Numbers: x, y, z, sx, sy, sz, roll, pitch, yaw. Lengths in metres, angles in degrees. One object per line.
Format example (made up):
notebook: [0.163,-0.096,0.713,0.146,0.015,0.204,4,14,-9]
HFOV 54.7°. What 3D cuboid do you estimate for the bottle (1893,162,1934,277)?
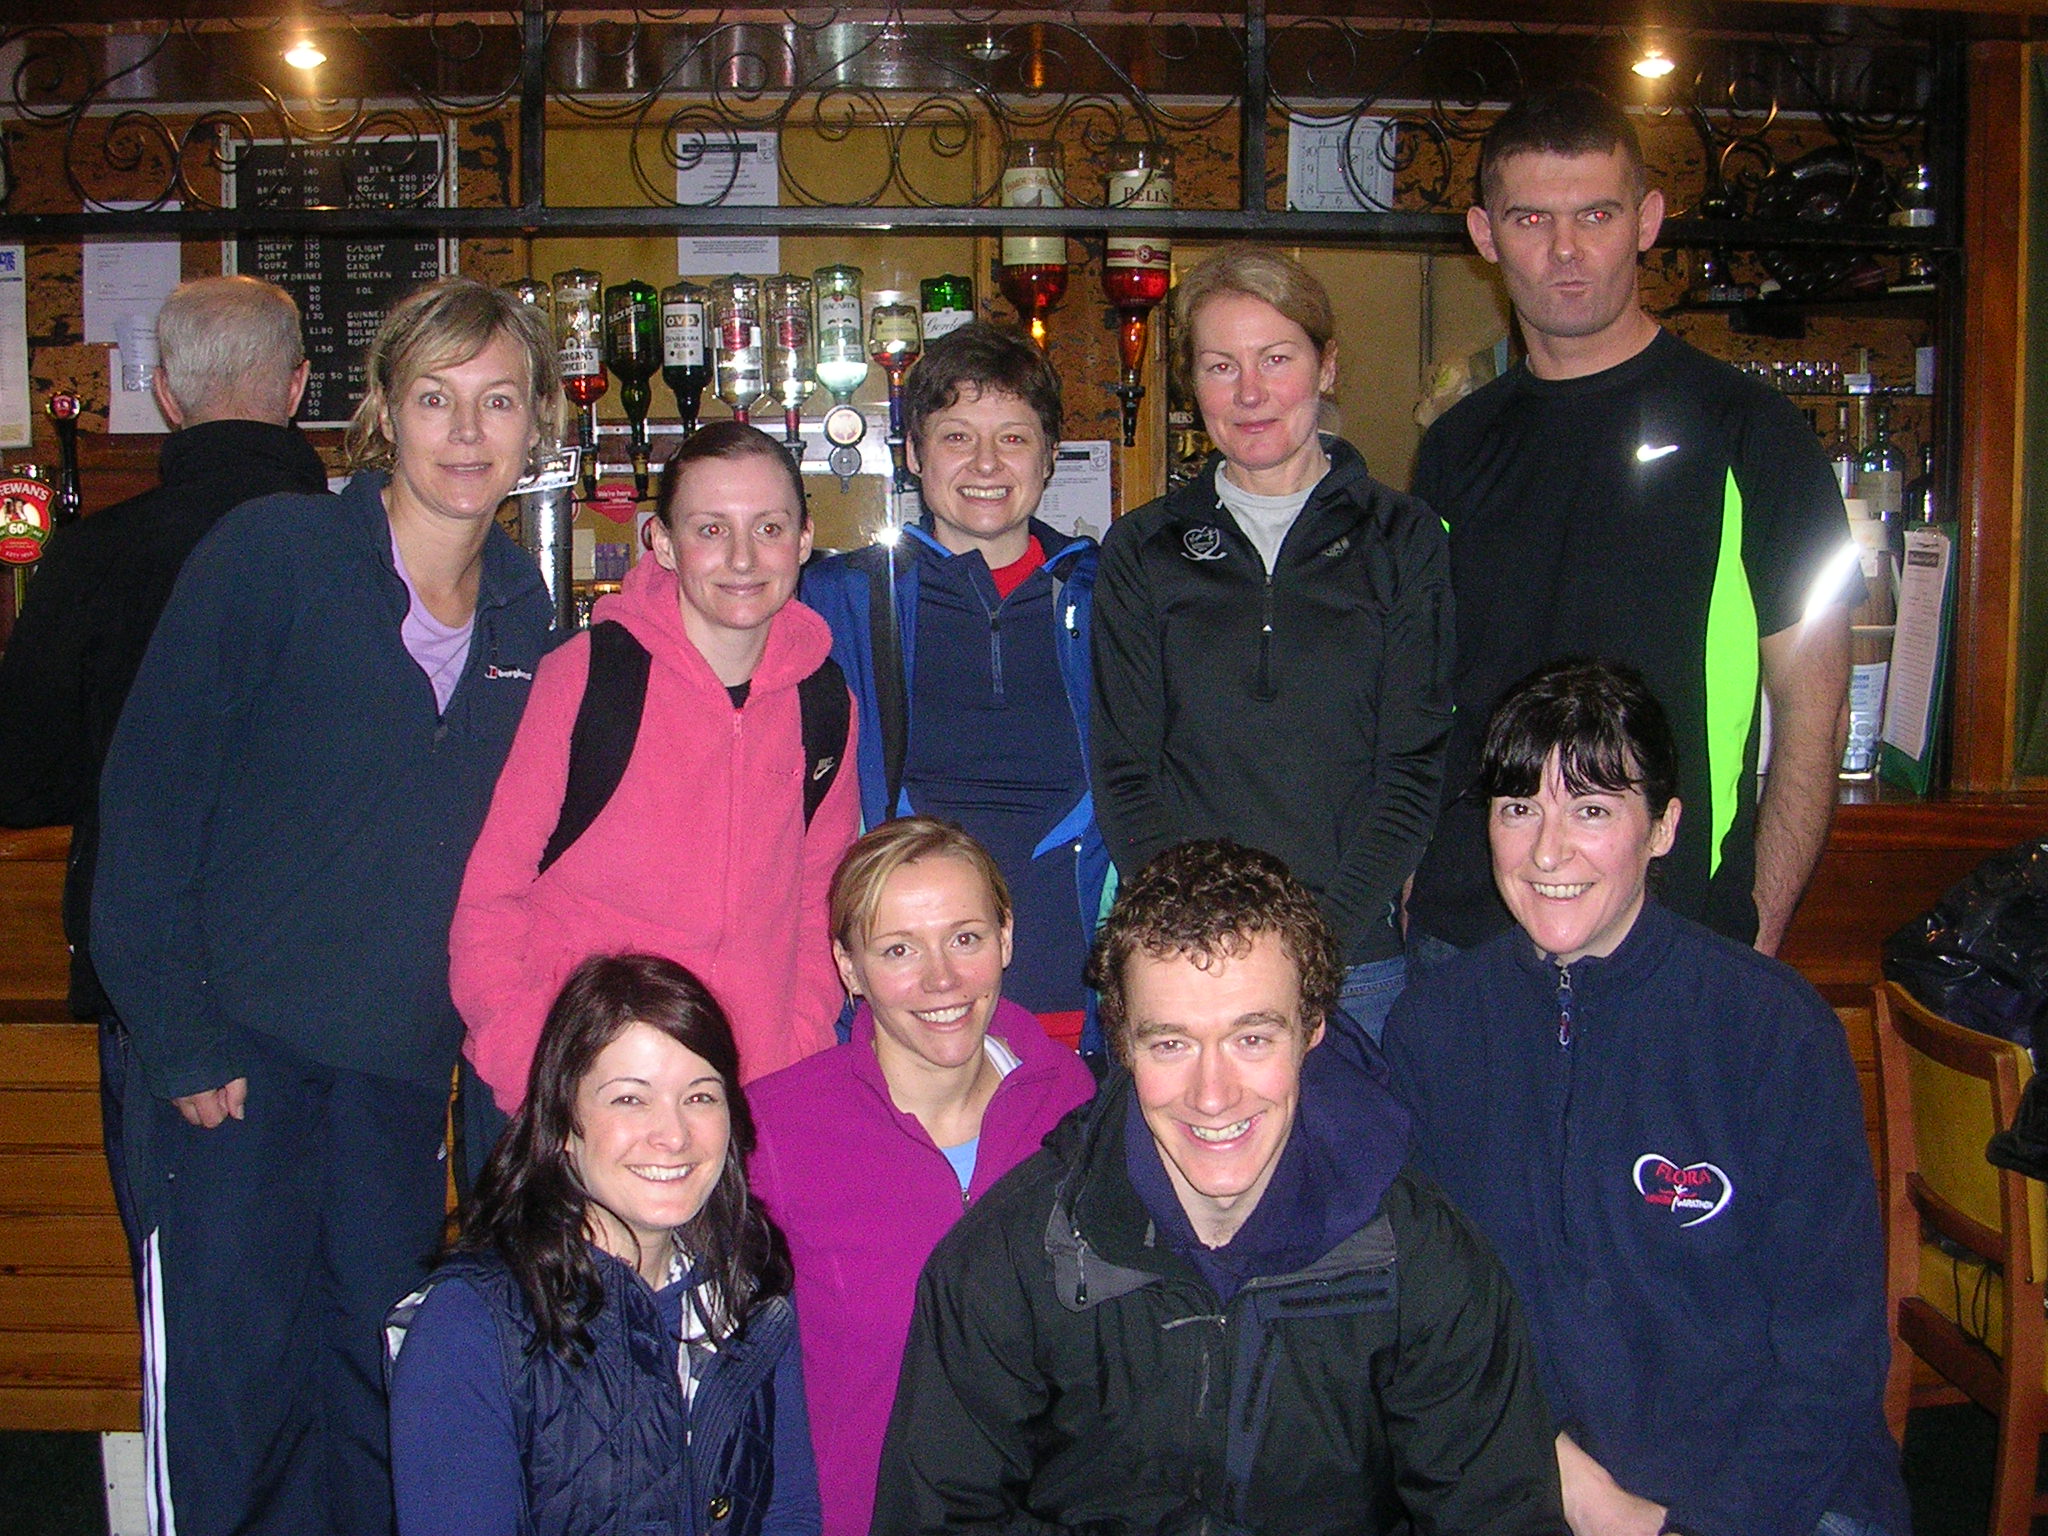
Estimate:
bottle: [2.267,-1.389,5.033,0.097,0.324,0.470,2,7,23]
